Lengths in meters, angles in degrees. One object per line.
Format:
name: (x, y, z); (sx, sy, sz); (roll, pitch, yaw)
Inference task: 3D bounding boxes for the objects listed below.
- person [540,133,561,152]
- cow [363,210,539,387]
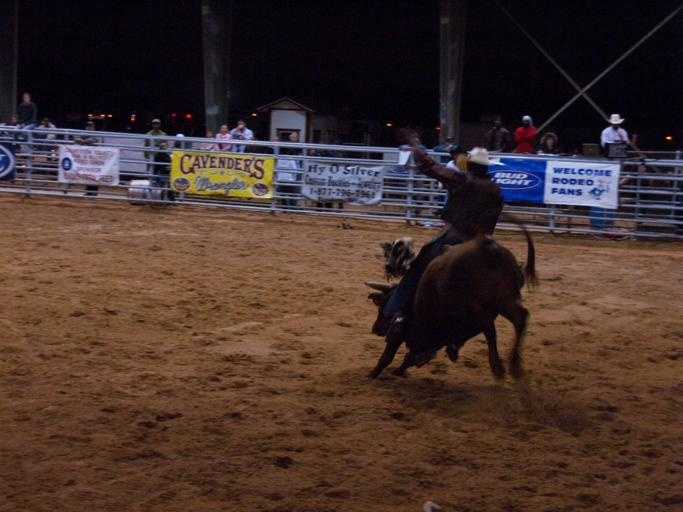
person: (4.671, -2.532, 17.219); (0.400, 0.511, 1.017); (5, 6, 12)
cow: (1.214, 0.519, 7.808); (1.552, 1.643, 0.835); (9, 10, 40)
